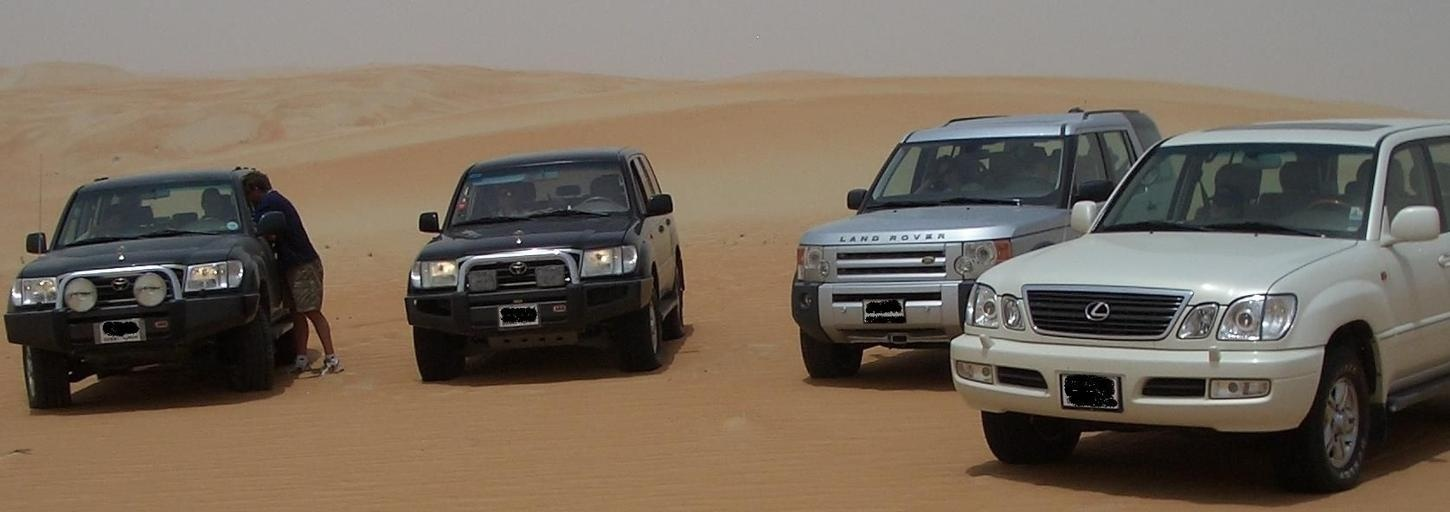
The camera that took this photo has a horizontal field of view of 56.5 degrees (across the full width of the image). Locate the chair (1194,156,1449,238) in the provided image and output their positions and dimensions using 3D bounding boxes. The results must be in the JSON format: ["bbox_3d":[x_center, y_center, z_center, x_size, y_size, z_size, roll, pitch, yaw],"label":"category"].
[{"bbox_3d":[13.209,-1.337,30.420,3.567,1.098,3.248,3,7,31],"label":"chair"}]

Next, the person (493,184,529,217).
[{"bbox_3d":[-5.598,-1.397,35.038,1.272,0.802,0.242,-2,-5,-9],"label":"person"}]

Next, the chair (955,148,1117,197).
[{"bbox_3d":[7.624,-2.118,33.722,2.986,0.988,1.818,0,-1,-44],"label":"chair"}]

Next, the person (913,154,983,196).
[{"bbox_3d":[5.648,-2.029,34.092,1.573,1.090,0.407,13,-8,18],"label":"person"}]
